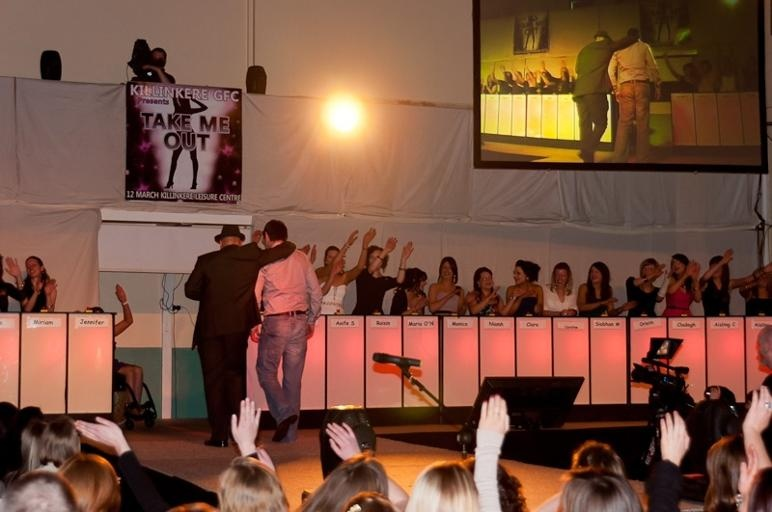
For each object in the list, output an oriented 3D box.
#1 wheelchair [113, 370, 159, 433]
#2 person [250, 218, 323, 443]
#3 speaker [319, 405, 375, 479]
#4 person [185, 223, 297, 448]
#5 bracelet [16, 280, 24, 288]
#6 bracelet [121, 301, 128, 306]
[{"bbox_3d":[-3.649,2.066,14.602,0.513,0.883,0.875,3,-8,-30],"label":"wheelchair"},{"bbox_3d":[-1.283,0.941,12.900,0.849,2.714,0.611,2,3,-4],"label":"person"},{"bbox_3d":[-0.456,1.838,10.082,0.627,0.957,0.683,2,-8,-20],"label":"speaker"},{"bbox_3d":[-1.823,1.019,12.775,0.777,2.455,1.172,-4,6,-40],"label":"person"},{"bbox_3d":[-5.368,0.418,14.772,0.097,0.100,0.041,-6,4,-5],"label":"bracelet"},{"bbox_3d":[-3.741,0.685,14.396,0.091,0.075,0.096,1,-2,1],"label":"bracelet"}]
